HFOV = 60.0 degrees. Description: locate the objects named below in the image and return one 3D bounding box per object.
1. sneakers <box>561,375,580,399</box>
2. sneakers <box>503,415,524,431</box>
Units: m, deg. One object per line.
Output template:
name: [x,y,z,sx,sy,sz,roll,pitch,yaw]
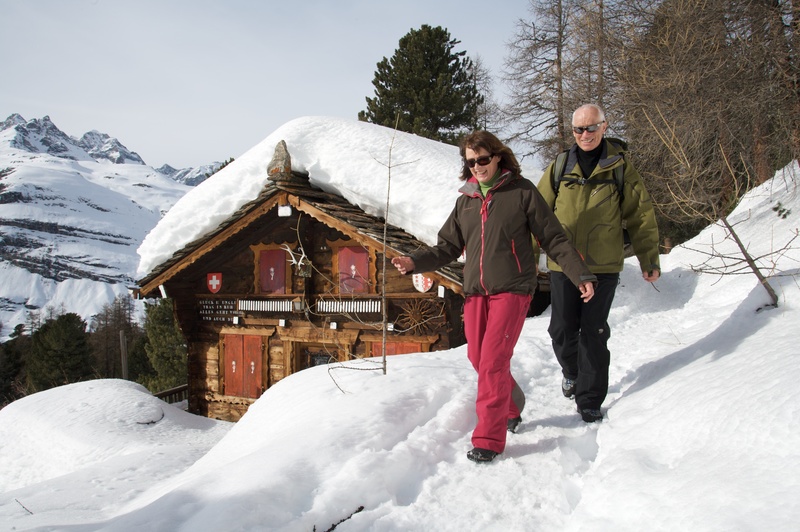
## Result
sneakers: [2.817,2.005,11.467,0.209,0.360,0.203,-11,17,-26]
sneakers: [1.806,2.485,10.987,0.159,0.267,0.077,5,-37,39]
